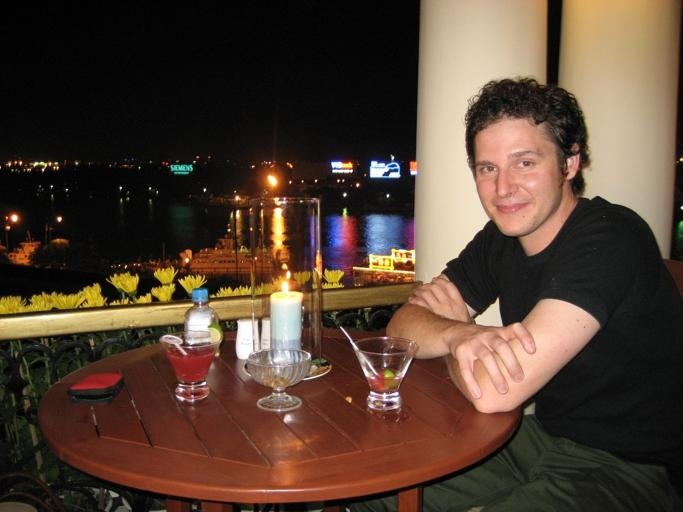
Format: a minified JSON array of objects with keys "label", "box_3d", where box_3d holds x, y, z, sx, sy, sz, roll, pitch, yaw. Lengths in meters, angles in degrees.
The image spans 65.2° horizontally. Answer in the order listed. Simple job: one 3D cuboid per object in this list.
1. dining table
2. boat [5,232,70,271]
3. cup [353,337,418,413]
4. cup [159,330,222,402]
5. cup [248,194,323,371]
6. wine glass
[{"label":"dining table","box_3d":[-0.123,0.474,1.600,0.817,0.497,0.811,-1,9,-4]},{"label":"boat","box_3d":[-22.634,-0.281,39.332,4.074,1.719,2.928,1,8,2]},{"label":"cup","box_3d":[0.130,0.349,1.641,0.193,0.170,0.200,0,6,0]},{"label":"cup","box_3d":[-0.454,0.329,1.705,0.198,0.193,0.201,1,12,0]},{"label":"cup","box_3d":[-0.132,0.168,1.851,0.217,0.396,0.223,12,-20,5]},{"label":"wine glass","box_3d":[-0.192,0.385,1.637,0.200,0.146,0.197,5,-10,-39]}]
